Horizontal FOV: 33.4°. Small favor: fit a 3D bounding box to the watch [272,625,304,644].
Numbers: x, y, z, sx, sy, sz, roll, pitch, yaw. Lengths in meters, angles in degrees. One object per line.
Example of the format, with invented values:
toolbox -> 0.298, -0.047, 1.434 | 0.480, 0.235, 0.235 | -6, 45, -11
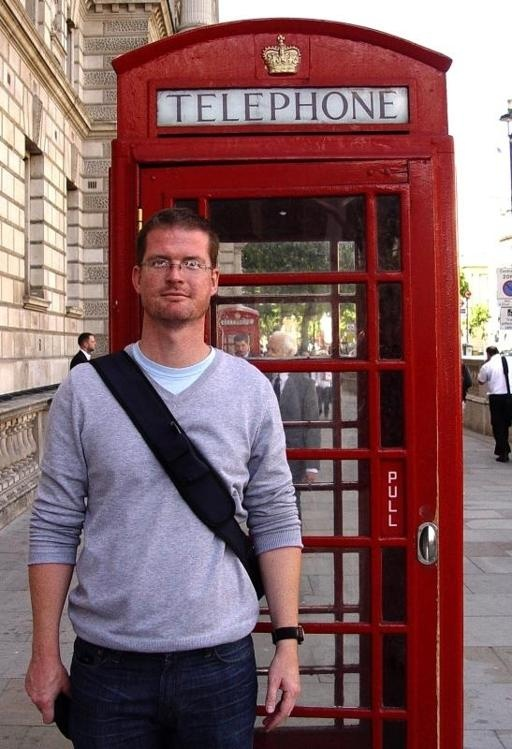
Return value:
watch -> 0.074, 0.621, 2.032 | 0.069, 0.049, 0.076 | -5, -16, 2
